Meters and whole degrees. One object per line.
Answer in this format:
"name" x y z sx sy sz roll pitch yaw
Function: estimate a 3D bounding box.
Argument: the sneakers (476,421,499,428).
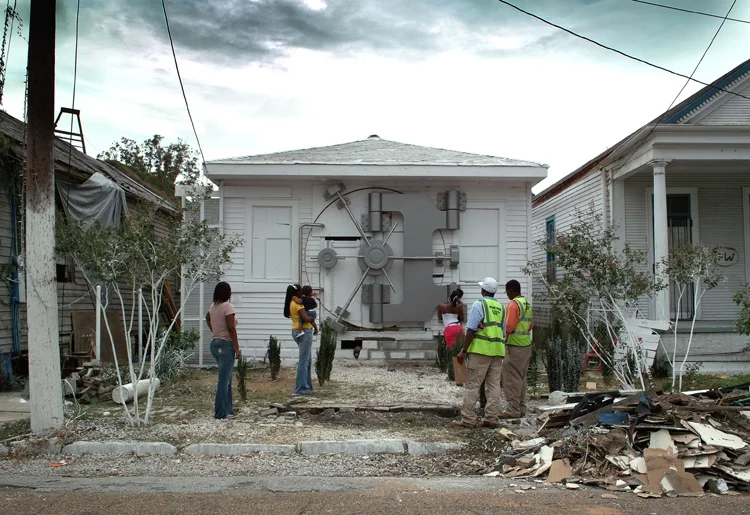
"sneakers" 1.907 2.780 11.890 0.341 0.096 0.191 -1 -4 5

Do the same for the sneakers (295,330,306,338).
"sneakers" -1.488 1.527 14.195 0.233 0.100 0.081 -10 -15 33

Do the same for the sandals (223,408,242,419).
"sandals" -2.492 2.769 12.556 0.287 0.114 0.099 -5 -7 33

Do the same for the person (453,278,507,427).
"person" 1.859 1.599 12.177 0.877 2.465 0.593 2 -4 -43

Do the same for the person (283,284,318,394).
"person" -1.533 1.656 14.539 0.593 2.180 0.888 0 -3 -7

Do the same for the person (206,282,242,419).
"person" -2.651 1.615 12.495 0.585 2.360 0.744 0 -3 -11
